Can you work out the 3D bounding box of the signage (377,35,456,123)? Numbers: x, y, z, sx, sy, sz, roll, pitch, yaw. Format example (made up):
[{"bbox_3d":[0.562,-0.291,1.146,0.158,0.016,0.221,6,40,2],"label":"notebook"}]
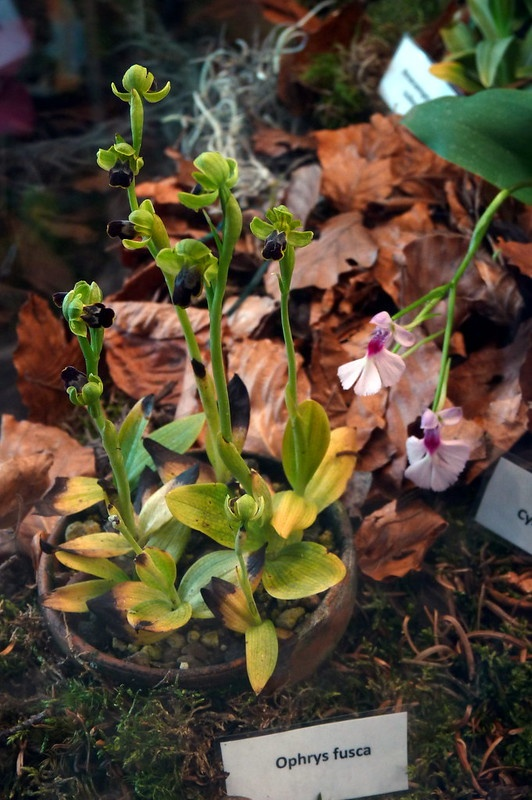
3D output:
[{"bbox_3d":[0.145,-0.316,0.696,0.086,0.061,0.031,-28,55,-19],"label":"signage"}]

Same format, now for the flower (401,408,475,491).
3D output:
[{"bbox_3d":[0.151,0.040,0.635,0.069,0.023,0.069,-4,95,-4],"label":"flower"}]

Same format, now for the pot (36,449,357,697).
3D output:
[{"bbox_3d":[-0.071,0.162,0.730,0.324,0.117,0.264,-8,50,-4],"label":"pot"}]

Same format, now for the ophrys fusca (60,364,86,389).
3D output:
[{"bbox_3d":[-0.160,-0.019,0.587,0.016,0.023,0.005,-13,17,9],"label":"ophrys fusca"}]

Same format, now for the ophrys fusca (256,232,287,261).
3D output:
[{"bbox_3d":[0.006,-0.118,0.553,0.019,0.010,0.025,3,68,17],"label":"ophrys fusca"}]

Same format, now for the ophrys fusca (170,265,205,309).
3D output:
[{"bbox_3d":[-0.060,-0.086,0.546,0.024,0.011,0.031,3,69,8],"label":"ophrys fusca"}]
